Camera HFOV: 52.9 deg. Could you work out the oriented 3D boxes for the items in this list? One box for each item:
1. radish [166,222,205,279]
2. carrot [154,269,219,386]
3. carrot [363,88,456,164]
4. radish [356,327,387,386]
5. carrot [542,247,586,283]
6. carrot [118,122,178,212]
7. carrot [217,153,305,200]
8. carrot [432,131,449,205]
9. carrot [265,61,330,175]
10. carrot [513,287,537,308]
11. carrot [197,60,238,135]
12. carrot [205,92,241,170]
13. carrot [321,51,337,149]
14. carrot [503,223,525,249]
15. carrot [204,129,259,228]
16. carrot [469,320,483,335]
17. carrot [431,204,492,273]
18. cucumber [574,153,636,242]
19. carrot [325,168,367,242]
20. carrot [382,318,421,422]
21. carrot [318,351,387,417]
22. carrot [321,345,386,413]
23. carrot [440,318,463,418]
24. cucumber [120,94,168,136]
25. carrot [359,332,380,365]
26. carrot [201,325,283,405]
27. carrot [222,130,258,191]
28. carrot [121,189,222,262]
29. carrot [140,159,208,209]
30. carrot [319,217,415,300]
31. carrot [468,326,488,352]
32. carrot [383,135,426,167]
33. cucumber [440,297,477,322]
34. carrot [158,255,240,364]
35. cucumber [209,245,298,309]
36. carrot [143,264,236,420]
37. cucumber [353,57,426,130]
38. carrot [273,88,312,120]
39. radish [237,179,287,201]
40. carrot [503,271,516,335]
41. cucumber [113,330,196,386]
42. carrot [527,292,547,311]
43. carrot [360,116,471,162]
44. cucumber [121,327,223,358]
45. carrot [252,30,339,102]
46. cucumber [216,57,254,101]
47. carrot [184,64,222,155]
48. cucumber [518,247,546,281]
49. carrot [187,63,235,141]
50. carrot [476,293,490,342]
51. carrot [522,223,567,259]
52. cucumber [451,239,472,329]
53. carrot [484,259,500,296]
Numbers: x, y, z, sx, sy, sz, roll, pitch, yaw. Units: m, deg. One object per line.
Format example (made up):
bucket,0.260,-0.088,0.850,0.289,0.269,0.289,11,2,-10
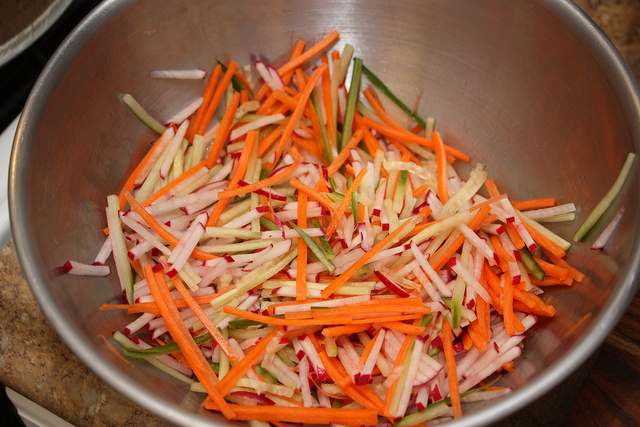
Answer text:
radish,-0.439,0.121,2.116,0.057,0.042,0.251,41,60,-21
carrot,-0.432,0.373,2.075,0.052,0.040,0.385,-27,79,-5
carrot,0.330,-0.323,2.367,0.292,0.044,0.047,43,91,0
radish,0.165,0.459,2.053,0.047,0.028,0.231,26,59,-6
carrot,0.796,0.160,2.144,0.025,0.045,0.175,-15,40,-24
carrot,-0.596,-0.167,2.317,0.094,0.074,0.340,41,66,-30
carrot,-0.199,-0.120,2.255,0.312,0.086,0.118,-24,117,-30
carrot,0.445,-0.129,2.365,0.070,0.386,0.056,-36,60,-14
carrot,-0.088,-0.345,2.325,0.040,0.060,0.429,14,79,43
carrot,0.660,0.277,2.107,0.094,0.028,0.029,43,117,33
carrot,-0.371,-0.429,2.315,0.036,0.035,0.273,19,97,-17
carrot,-0.361,-0.298,2.290,0.071,0.455,0.077,-9,65,-24
carrot,0.028,-0.415,2.348,0.047,0.045,0.384,-6,90,-44
carrot,0.654,0.073,2.184,0.026,0.032,0.117,-39,58,22
carrot,-0.326,-0.106,2.221,0.069,0.053,0.390,29,100,10
carrot,0.510,0.372,2.113,0.014,0.049,0.010,-30,115,6
carrot,0.474,0.088,2.176,0.047,0.034,0.247,35,96,-12
cucumber,0.899,-0.042,2.048,0.035,0.075,0.336,27,86,42
carrot,0.087,-0.022,2.199,0.034,0.035,0.267,33,76,-27
carrot,0.243,0.497,2.036,0.066,0.042,0.330,29,74,-25
carrot,0.098,0.543,2.042,0.235,0.041,0.035,44,54,-1
carrot,0.125,0.528,2.046,0.062,0.310,0.053,-33,35,16
carrot,0.409,0.497,2.051,0.038,0.036,0.281,-5,67,0
cucumber,-0.623,-0.352,2.257,0.041,0.060,0.238,-38,115,10
carrot,0.153,0.436,2.061,0.025,0.006,0.141,9,55,30
carrot,-0.248,0.489,2.051,0.317,0.030,0.045,-51,118,-18
carrot,-0.275,-0.185,2.223,0.058,0.044,0.296,13,80,5
carrot,-0.498,0.046,2.165,0.293,0.043,0.041,44,51,16
carrot,-0.506,-0.099,2.227,0.218,0.029,0.032,-43,120,-19
carrot,0.157,0.156,2.138,0.335,0.044,0.033,-44,112,-14
carrot,0.505,0.408,2.085,0.026,0.106,0.029,33,111,-21
carrot,0.309,-0.231,2.362,0.021,0.022,0.155,-50,65,15
cucumber,0.451,0.310,2.114,0.126,0.022,0.035,28,87,6
carrot,-0.396,0.319,2.090,0.044,0.049,0.399,-44,73,23
cucumber,-0.221,0.214,2.128,0.036,0.044,0.259,42,69,17
carrot,-0.413,0.419,2.043,0.050,0.081,0.527,-11,63,-34
cucumber,0.254,-0.454,2.368,0.023,0.039,0.303,-39,95,16
carrot,-0.103,-0.398,2.315,0.136,0.037,0.029,40,74,-4
radish,-0.205,-0.081,2.211,0.108,0.028,0.030,27,92,5
carrot,0.608,0.289,2.104,0.034,0.027,0.193,-15,55,29
cucumber,-0.519,0.459,2.020,0.220,0.054,0.035,36,106,4
carrot,0.698,0.286,2.084,0.032,0.105,0.031,21,91,14
carrot,0.349,-0.269,2.380,0.440,0.064,0.072,19,85,6
cucumber,-0.474,0.413,2.068,0.205,0.046,0.053,-13,36,-6
carrot,-0.165,-0.554,2.571,0.095,0.689,0.132,-41,111,-20
cucumber,-0.306,-0.483,2.331,0.196,0.052,0.021,49,58,-9
carrot,-0.423,-0.383,2.311,0.039,0.041,0.323,19,92,44
cucumber,0.698,0.165,2.152,0.040,0.037,0.138,-22,43,-1
carrot,-0.406,-0.379,2.364,0.087,0.042,0.448,14,89,-4
carrot,0.528,0.348,2.113,0.027,0.021,0.134,-14,69,15
carrot,0.744,0.082,2.195,0.030,0.046,0.206,-38,52,-8
cucumber,0.464,0.207,2.189,0.053,0.046,0.355,20,69,-28
carrot,0.574,0.212,2.171,0.024,0.027,0.125,-44,44,28
